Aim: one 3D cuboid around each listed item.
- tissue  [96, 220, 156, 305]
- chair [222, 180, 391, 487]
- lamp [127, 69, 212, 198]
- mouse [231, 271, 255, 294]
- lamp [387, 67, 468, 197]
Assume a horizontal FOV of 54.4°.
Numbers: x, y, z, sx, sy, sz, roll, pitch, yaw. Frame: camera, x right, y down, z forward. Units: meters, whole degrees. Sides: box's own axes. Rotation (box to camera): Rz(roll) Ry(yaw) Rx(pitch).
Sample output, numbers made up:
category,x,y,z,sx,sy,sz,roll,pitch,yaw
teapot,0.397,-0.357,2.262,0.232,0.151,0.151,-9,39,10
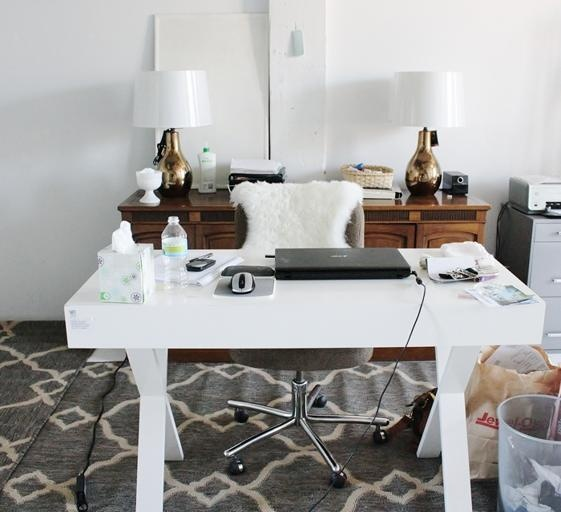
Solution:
category,x,y,z,sx,sy,sz,roll,pitch,yaw
tissue ,-0.456,0.019,1.591,0.166,0.219,0.161,-5,15,-9
chair,0.098,0.251,2.224,0.766,1.050,0.772,3,14,9
lamp,-0.617,-0.657,3.001,0.376,0.681,0.299,5,17,27
mouse,-0.115,0.086,1.649,0.052,0.018,0.069,1,37,3
lamp,0.817,-0.677,3.057,0.389,0.695,0.270,-1,15,7
